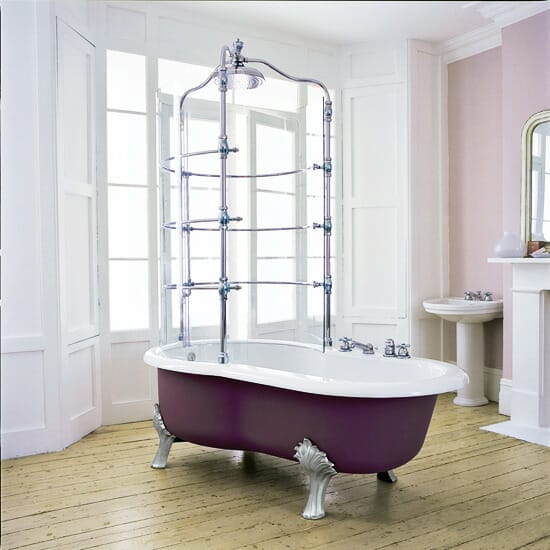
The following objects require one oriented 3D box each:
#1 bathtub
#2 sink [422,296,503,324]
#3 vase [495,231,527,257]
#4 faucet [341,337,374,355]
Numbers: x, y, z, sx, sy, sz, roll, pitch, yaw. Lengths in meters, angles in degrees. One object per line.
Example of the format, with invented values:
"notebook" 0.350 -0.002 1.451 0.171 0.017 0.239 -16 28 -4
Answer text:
"bathtub" 0.141 0.670 2.880 1.710 0.513 0.864 1 2 33
"sink" 1.508 0.284 4.288 0.535 0.179 0.589 -2 2 -43
"vase" 1.654 -0.207 3.739 0.209 0.170 0.147 -1 2 -16
"faucet" 0.481 0.418 3.142 0.095 0.055 0.145 -3 7 -43
